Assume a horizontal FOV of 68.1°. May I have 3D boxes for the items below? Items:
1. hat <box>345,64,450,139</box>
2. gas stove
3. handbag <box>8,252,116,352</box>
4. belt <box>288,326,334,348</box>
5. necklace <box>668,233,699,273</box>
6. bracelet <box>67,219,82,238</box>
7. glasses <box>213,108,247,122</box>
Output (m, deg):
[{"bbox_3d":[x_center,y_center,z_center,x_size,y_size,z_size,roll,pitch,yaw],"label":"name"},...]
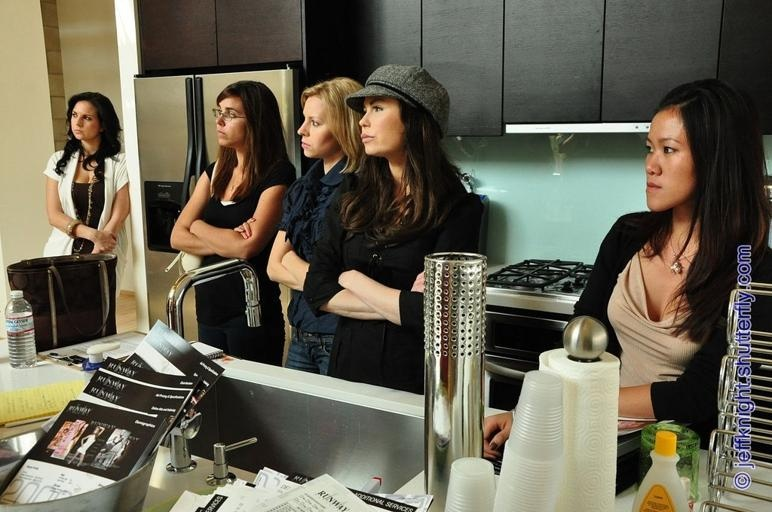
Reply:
[{"bbox_3d":[0.068,-0.607,2.165,0.364,0.174,0.266,20,-3,-9],"label":"hat"},{"bbox_3d":[0.773,0.149,2.972,0.354,0.074,0.387,2,15,30],"label":"gas stove"},{"bbox_3d":[-1.226,0.165,2.223,0.328,0.360,0.455,11,14,43],"label":"handbag"},{"bbox_3d":[-0.319,0.345,2.469,0.136,0.052,0.101,9,6,27],"label":"belt"},{"bbox_3d":[0.975,-0.016,1.877,0.033,0.114,0.077,0,23,-43],"label":"necklace"},{"bbox_3d":[-2.181,-0.188,4.006,0.042,0.105,0.087,10,-7,37],"label":"bracelet"},{"bbox_3d":[-0.804,-0.736,2.971,0.157,0.049,0.165,10,8,42],"label":"glasses"}]
